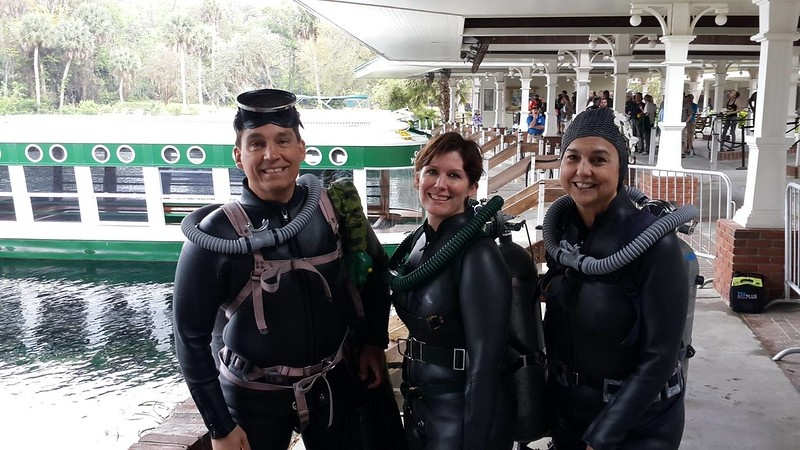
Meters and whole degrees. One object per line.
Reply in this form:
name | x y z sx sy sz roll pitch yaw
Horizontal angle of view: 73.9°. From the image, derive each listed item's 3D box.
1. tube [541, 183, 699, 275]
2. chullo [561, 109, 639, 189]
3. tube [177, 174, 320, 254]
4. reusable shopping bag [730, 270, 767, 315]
tube | 1.913 0.083 4.510 1.106 0.211 0.849 -35 28 -30
chullo | 1.678 -0.686 4.706 0.567 0.654 0.688 4 17 16
tube | -1.354 -0.101 5.029 1.427 0.245 1.054 -27 36 -30
reusable shopping bag | 5.449 1.074 8.315 0.468 0.597 0.284 0 8 18
